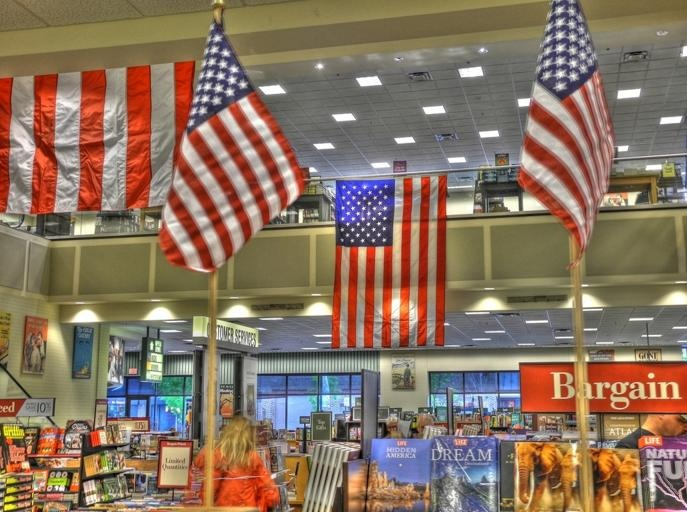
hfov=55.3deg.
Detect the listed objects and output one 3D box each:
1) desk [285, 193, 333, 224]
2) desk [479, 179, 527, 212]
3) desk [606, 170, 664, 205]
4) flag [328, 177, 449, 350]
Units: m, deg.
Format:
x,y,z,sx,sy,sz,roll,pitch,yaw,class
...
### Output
x,y,z,sx,sy,sz,roll,pitch,yaw,class
-0.737,-0.970,14.144,0.713,0.483,0.759,0,-3,12,desk
3.271,-1.218,13.659,0.730,0.758,0.649,-1,-1,18,desk
5.737,-1.380,12.957,0.758,0.787,0.791,-1,-15,10,desk
0.903,0.155,12.828,3.109,4.751,0.206,1,2,8,flag
